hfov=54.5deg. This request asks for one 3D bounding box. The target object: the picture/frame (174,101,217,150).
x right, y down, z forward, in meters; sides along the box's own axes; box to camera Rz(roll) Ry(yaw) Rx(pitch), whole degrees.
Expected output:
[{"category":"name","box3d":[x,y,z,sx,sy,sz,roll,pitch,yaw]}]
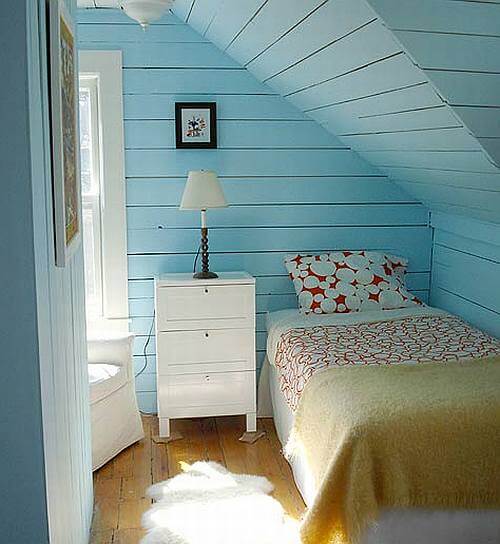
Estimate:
[{"category":"picture/frame","box3d":[-0.322,-0.857,2.815,0.315,0.294,0.023,0,11,-8]}]

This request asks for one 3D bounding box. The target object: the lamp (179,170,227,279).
[{"category":"lamp","box3d":[-0.260,-0.268,2.746,0.248,0.595,0.369,-1,7,-7]}]

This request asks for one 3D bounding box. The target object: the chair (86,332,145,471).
[{"category":"chair","box3d":[-0.721,0.648,2.453,0.239,0.600,0.474,0,6,9]}]
